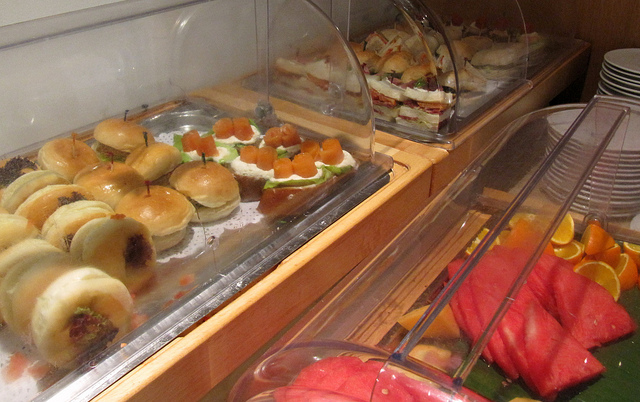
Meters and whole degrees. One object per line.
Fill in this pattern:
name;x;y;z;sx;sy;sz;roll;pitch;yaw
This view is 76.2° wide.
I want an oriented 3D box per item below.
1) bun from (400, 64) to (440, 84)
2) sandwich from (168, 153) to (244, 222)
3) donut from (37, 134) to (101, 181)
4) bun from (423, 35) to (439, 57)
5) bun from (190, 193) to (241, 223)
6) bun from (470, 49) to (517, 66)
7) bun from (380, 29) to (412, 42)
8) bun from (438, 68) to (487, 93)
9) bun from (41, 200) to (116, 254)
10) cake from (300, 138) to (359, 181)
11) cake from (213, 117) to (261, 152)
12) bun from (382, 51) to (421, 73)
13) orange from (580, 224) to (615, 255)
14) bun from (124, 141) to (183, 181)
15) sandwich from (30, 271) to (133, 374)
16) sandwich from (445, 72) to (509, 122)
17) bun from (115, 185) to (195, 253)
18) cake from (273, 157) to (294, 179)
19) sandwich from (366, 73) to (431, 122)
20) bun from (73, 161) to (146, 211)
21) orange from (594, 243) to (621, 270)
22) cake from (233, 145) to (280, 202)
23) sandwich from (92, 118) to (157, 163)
bun;0.381;-0.491;1.580;0.075;0.080;0.115;-34;54;-26
sandwich;-0.324;-0.033;1.093;0.208;0.113;0.195;8;29;-16
donut;-0.628;-0.110;1.010;0.134;0.052;0.135;4;37;-38
bun;0.446;-0.617;1.623;0.019;0.072;0.079;0;45;31
bun;-0.311;0.009;1.103;0.171;0.055;0.167;-11;11;-18
bun;0.773;-0.635;1.804;0.147;0.042;0.109;-2;25;12
bun;0.327;-0.726;1.765;0.081;0.023;0.072;15;34;26
bun;0.583;-0.484;1.660;0.149;0.063;0.148;19;23;29
bun;-0.518;0.041;0.854;0.086;0.036;0.132;21;51;21
cake;-0.001;-0.161;1.321;0.224;0.097;0.297;-1;13;1
cake;-0.251;-0.201;1.238;0.141;0.056;0.118;-15;47;-11
bun;0.327;-0.557;1.650;0.099;0.032;0.102;-31;34;-26
orange;0.649;0.095;0.980;0.068;0.030;0.075;-13;60;-29
bun;-0.437;-0.113;1.065;0.109;0.057;0.115;21;44;28
sandwich;-0.471;0.234;0.800;0.059;0.190;0.185;31;90;48
sandwich;0.656;-0.469;1.662;0.211;0.070;0.247;30;48;28
bun;-0.378;0.025;0.936;0.155;0.086;0.151;-7;49;-22
cake;-0.104;-0.093;1.159;0.056;0.036;0.054;3;56;10
sandwich;0.363;-0.474;1.750;0.288;0.128;0.361;15;31;15
bun;-0.493;-0.053;0.949;0.127;0.062;0.127;32;36;16
orange;0.687;0.135;0.976;0.067;0.074;0.053;-3;77;12
cake;-0.185;-0.073;1.159;0.145;0.085;0.141;5;39;9
sandwich;-0.540;-0.144;1.128;0.135;0.076;0.136;29;38;32
